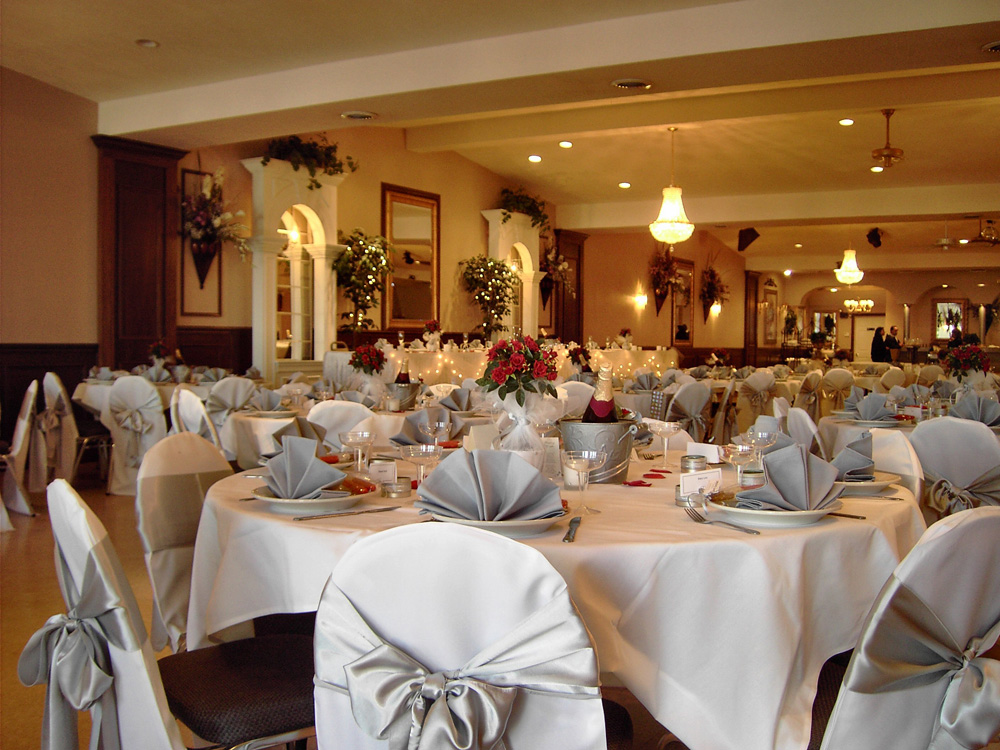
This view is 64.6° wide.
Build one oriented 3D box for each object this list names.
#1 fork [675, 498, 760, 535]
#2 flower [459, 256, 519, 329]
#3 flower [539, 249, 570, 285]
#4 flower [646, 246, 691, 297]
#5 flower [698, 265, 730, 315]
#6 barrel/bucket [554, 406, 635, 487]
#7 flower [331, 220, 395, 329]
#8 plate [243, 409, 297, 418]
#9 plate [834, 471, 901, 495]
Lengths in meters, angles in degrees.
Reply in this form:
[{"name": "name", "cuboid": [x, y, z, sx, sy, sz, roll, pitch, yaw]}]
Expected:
[{"name": "fork", "cuboid": [0.593, 0.360, 2.060, 0.057, 0.038, 0.233, 0, 15, -27]}, {"name": "flower", "cuboid": [-0.104, -1.268, 12.467, 0.811, 1.551, 1.325, -1, 4, 1]}, {"name": "flower", "cuboid": [1.023, -1.791, 13.428, 0.533, 0.437, 0.514, -4, 6, -37]}, {"name": "flower", "cuboid": [3.735, -2.120, 16.443, 0.413, 0.949, 1.264, 3, 2, 43]}, {"name": "flower", "cuboid": [4.990, -1.828, 17.831, 0.380, 1.173, 0.953, 2, 2, 31]}, {"name": "barrel/bucket", "cuboid": [0.342, 0.241, 2.512, 0.199, 0.179, 0.199, 0, 0, 0]}, {"name": "flower", "cuboid": [-1.687, -1.146, 9.741, 0.698, 1.221, 0.479, 1, 2, -14]}, {"name": "plate", "cuboid": [-1.349, 0.233, 4.587, 0.393, 0.040, 0.159, 2, 1, 29]}, {"name": "plate", "cuboid": [1.201, 0.343, 2.474, 0.131, 0.059, 0.383, 2, 1, 39]}]
